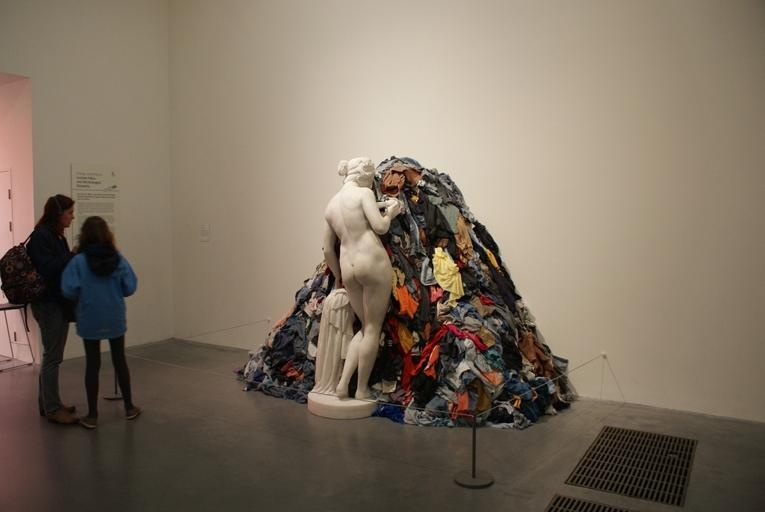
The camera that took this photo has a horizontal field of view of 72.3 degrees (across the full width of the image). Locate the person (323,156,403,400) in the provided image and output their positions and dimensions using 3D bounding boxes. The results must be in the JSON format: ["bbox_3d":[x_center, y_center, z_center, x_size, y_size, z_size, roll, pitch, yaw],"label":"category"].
[{"bbox_3d":[-0.205,0.190,4.794,0.684,2.148,0.514,-1,9,-3],"label":"person"}]

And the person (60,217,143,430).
[{"bbox_3d":[-2.388,0.550,4.435,0.565,1.768,0.281,-5,10,-29],"label":"person"}]

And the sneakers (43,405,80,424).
[{"bbox_3d":[-2.851,1.385,4.638,0.406,0.205,0.150,-4,-5,16],"label":"sneakers"}]

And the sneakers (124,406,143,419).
[{"bbox_3d":[-2.189,1.349,4.552,0.063,0.070,0.166,0,0,-3],"label":"sneakers"}]
